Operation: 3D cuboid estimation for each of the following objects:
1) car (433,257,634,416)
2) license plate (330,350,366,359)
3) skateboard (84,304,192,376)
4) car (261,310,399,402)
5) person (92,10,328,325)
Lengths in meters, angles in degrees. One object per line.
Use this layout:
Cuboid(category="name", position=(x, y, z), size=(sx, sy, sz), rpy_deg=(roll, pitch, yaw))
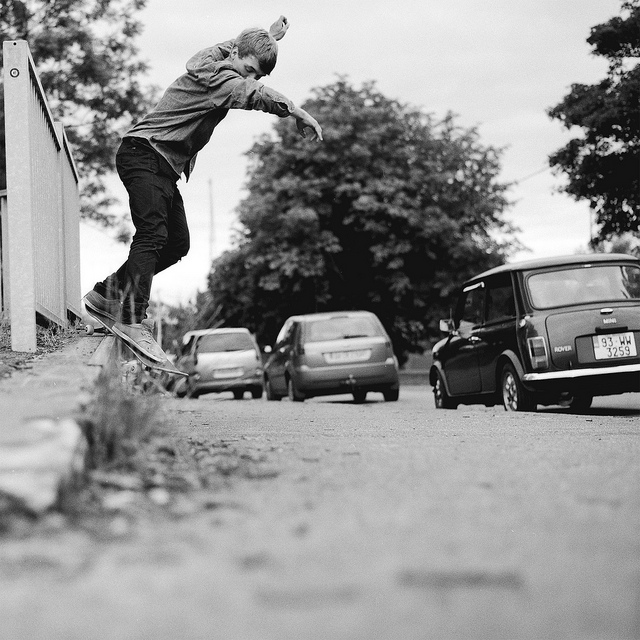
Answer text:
Cuboid(category="car", position=(2.149, 0.163, 10.247), size=(0.934, 0.904, 2.098), rpy_deg=(-2, 0, -14))
Cuboid(category="license plate", position=(0.443, 0.524, 15.227), size=(0.543, 0.128, 0.107), rpy_deg=(0, 1, 1))
Cuboid(category="skateboard", position=(-1.053, 0.113, 5.817), size=(0.543, 0.188, 0.189), rpy_deg=(30, -10, -18))
Cuboid(category="car", position=(0.062, 0.508, 16.147), size=(1.189, 1.060, 2.188), rpy_deg=(-1, 2, -13))
Cuboid(category="person", position=(-0.742, -0.941, 5.985), size=(1.196, 1.924, 0.747), rpy_deg=(0, 1, -14))
